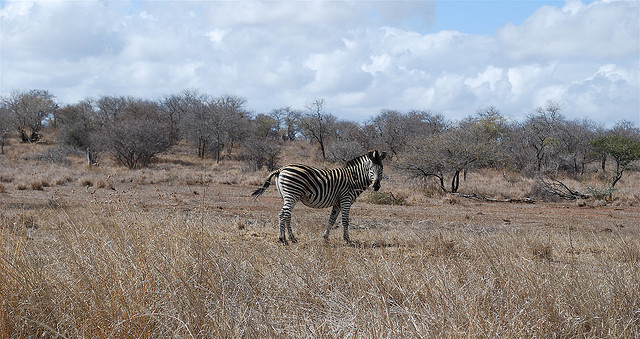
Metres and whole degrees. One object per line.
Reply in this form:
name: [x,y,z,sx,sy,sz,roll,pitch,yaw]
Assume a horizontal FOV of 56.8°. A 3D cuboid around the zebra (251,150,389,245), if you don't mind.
zebra: [-0.041,1.962,41.915,10.015,6.675,2.424,0,2,-27]
